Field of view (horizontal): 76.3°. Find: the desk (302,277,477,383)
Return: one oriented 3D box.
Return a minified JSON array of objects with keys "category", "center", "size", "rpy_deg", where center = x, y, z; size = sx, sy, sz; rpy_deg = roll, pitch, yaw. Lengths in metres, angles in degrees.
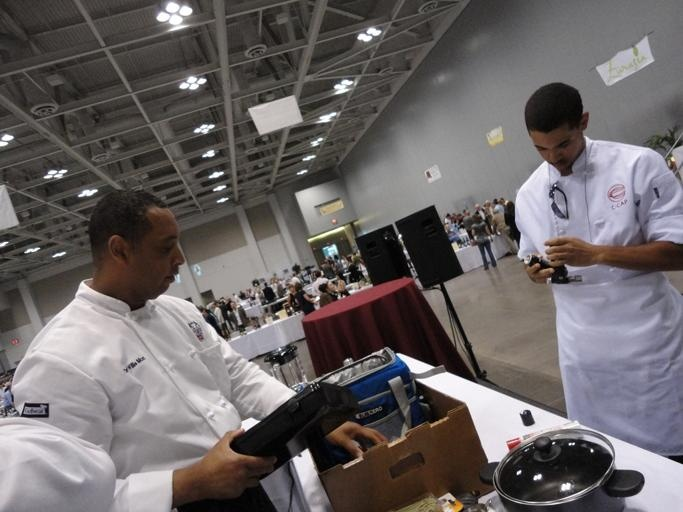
[{"category":"desk","center":[0.317,0.817,3.625],"size":[1.034,1.001,0.892],"rpy_deg":[-27,-6,-11]}]

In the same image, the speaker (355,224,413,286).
[{"category":"speaker","center":[0.358,0.101,3.999],"size":[0.339,0.533,0.359],"rpy_deg":[-19,-2,-22]}]

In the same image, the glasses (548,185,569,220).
[{"category":"glasses","center":[0.801,-0.197,1.593],"size":[0.026,0.104,0.103],"rpy_deg":[-1,26,-9]}]
